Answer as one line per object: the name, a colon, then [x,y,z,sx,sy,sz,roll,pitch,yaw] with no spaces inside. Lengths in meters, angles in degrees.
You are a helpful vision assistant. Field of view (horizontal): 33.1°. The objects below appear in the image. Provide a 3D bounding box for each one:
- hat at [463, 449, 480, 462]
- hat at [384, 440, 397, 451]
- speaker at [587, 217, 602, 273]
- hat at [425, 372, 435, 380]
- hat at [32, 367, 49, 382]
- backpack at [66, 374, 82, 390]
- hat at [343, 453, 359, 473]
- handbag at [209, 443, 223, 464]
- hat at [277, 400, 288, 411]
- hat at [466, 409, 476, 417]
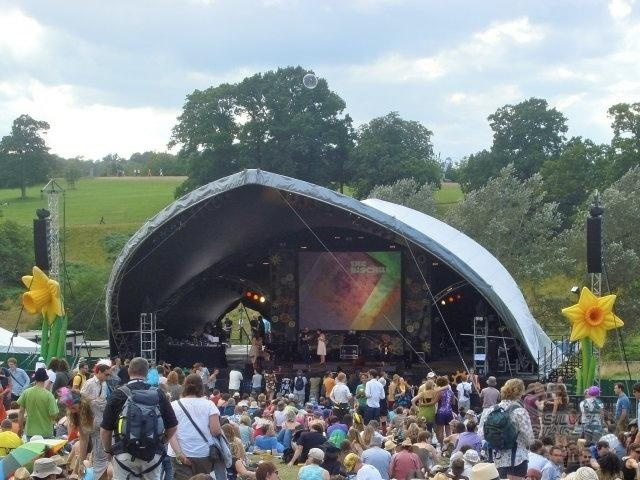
hat: [3.591,5.149,25.636,0.359,0.341,0.445,-4,-9,6]
hat: [1.773,5.070,26.583,0.291,0.111,0.315,-14,15,27]
speaker: [8.987,0.170,35.452,0.477,1.759,0.740,-4,-8,9]
hat: [3.230,3.946,31.381,0.306,0.153,0.434,0,-7,2]
hat: [-6.701,3.249,26.033,0.297,0.339,0.390,0,-9,-17]
backpack: [-6.353,3.682,28.011,0.324,0.328,0.188,9,-1,14]
hat: [0.761,5.304,25.748,0.301,0.226,0.436,-5,13,12]
handbag: [-2.332,4.764,24.161,0.207,0.375,0.406,-9,-9,12]
hat: [-1.000,4.461,29.160,0.202,0.269,0.267,2,11,5]
hat: [3.965,4.541,28.329,0.198,0.071,0.192,32,-18,-38]
